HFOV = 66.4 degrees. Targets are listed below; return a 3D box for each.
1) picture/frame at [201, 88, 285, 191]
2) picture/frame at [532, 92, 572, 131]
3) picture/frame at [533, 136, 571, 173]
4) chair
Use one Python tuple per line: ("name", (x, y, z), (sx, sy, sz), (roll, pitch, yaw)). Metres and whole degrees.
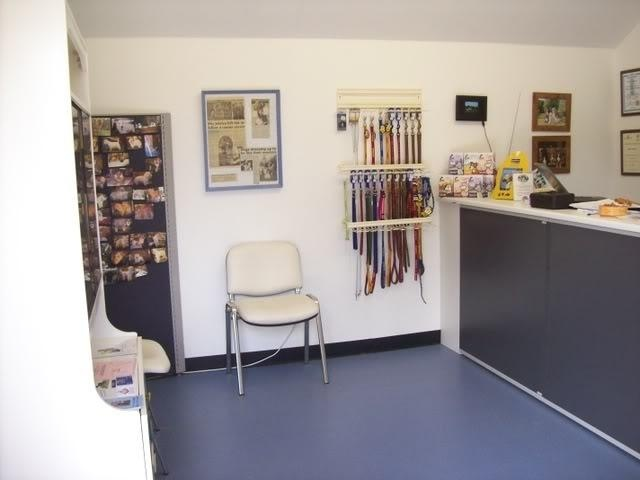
("picture/frame", (-0.579, -0.744, 3.510), (0.596, 0.864, 0.031), (-2, 10, -12))
("picture/frame", (1.928, -1.082, 4.088), (0.260, 0.294, 0.019), (-4, 8, -14))
("picture/frame", (1.918, -0.722, 4.060), (0.333, 0.416, 0.031), (-2, 8, -7))
("chair", (-0.337, 0.523, 3.472), (0.601, 1.014, 0.575), (-3, 3, -24))
